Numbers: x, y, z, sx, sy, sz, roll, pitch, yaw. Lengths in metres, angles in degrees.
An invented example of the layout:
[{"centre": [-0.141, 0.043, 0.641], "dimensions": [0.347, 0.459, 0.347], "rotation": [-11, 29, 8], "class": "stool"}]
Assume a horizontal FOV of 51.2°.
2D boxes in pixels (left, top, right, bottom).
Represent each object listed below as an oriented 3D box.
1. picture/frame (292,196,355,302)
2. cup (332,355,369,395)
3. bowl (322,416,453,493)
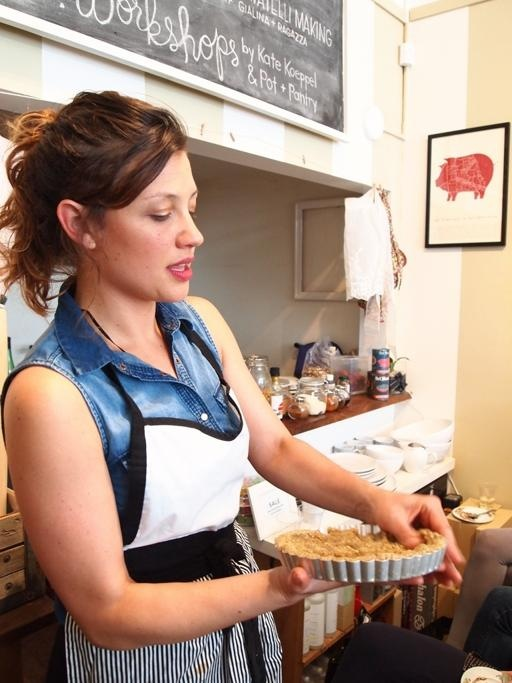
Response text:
[{"centre": [0.393, -0.584, 3.184], "dimensions": [0.035, 0.526, 0.471], "rotation": [13, 21, 43], "class": "picture/frame"}, {"centre": [0.512, 0.155, 2.835], "dimensions": [0.191, 0.249, 0.258], "rotation": [-3, -1, 29], "class": "cup"}, {"centre": [0.708, 0.473, 2.570], "dimensions": [0.363, 0.246, 0.591], "rotation": [-2, 3, 45], "class": "bowl"}]
